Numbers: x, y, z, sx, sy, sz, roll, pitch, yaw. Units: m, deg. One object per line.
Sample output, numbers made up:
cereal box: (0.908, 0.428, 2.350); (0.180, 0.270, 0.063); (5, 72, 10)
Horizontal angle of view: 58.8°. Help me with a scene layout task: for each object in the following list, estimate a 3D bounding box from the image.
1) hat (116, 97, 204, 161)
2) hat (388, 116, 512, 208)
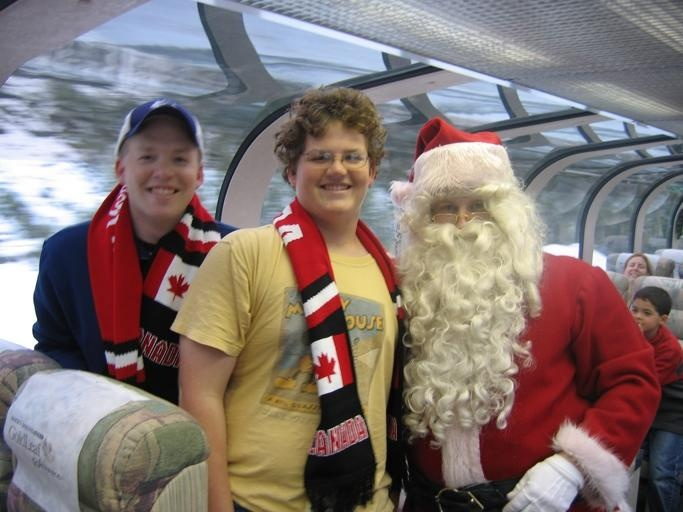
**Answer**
hat: (-0.770, -0.540, 2.600); (0.272, 0.303, 0.299); (4, 41, -17)
hat: (0.455, -0.418, 2.826); (0.542, 0.359, 0.370); (-23, -11, 10)
